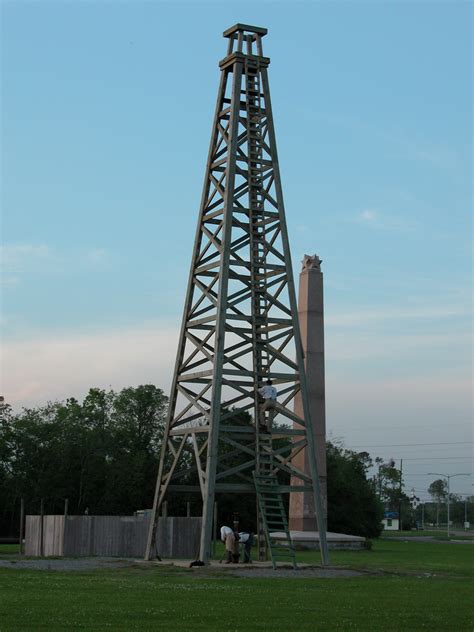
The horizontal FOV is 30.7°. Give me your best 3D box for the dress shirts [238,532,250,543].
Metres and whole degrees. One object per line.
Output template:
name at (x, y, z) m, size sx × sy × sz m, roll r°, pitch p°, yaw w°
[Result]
dress shirts at (0.214, 6.236, 23.991) m, size 0.298 × 0.283 × 0.499 m, roll -1°, pitch -13°, yaw -1°
